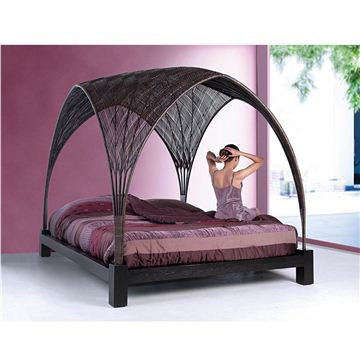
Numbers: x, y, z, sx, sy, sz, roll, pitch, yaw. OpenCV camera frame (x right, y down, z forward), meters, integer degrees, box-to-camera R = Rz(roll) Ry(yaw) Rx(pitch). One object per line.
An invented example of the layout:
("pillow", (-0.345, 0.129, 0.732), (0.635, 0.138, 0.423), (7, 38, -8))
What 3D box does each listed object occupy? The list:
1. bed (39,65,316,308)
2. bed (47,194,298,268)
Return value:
("bed", (-0.288, -0.043, 4.817), (2.337, 2.187, 3.128), (2, 2, -30))
("bed", (-0.204, 0.549, 4.573), (2.228, 0.594, 2.587), (2, -1, -23))
